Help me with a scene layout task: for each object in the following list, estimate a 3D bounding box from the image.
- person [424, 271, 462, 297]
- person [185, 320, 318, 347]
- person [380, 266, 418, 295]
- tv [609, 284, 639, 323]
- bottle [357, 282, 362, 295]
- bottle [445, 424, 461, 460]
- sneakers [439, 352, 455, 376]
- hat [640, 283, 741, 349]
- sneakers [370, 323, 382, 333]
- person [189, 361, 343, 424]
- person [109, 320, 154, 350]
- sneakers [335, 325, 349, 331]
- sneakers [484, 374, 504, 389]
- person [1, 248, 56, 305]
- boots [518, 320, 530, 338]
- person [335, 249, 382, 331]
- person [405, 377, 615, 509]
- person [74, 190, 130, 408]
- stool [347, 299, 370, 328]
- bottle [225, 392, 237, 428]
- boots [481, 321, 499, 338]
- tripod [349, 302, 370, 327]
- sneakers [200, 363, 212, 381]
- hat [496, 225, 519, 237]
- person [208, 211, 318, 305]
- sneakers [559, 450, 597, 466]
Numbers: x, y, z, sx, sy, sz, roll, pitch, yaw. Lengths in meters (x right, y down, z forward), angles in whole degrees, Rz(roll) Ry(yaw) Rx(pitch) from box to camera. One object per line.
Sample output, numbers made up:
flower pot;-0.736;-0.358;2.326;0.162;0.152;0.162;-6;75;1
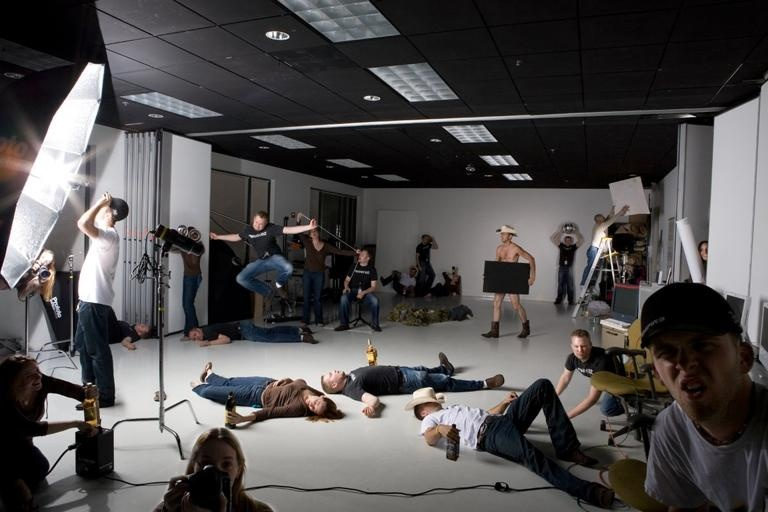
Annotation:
person;1.831;0.830;14.777;0.791;0.746;0.243;-3;-1;-7
person;-2.066;1.229;7.956;1.654;0.364;0.689;3;-3;1
person;0.473;0.741;14.791;0.875;0.819;0.654;0;-4;16
tv;3.544;0.686;7.435;0.265;0.524;0.619;1;-4;4
bottle;-0.466;0.640;9.460;0.098;0.199;0.182;1;-4;-3
bottle;0.606;1.652;4.511;0.114;0.295;0.214;0;-4;7
sneakers;0.831;1.422;6.622;0.119;0.364;0.162;-29;-5;-21
hat;1.349;0.260;2.210;0.420;0.285;0.124;1;-4;0
sneakers;-0.142;1.286;9.136;0.195;0.133;0.322;1;-4;-2
person;-1.251;1.475;5.316;1.064;0.278;0.655;5;3;18
person;-3.836;1.203;7.595;0.729;0.208;0.705;12;2;-33
sneakers;-0.767;1.284;9.099;0.280;0.090;0.095;3;-5;-28
sneakers;1.334;1.505;6.053;0.234;0.128;0.092;-9;-11;-2
person;-4.525;0.244;6.524;0.373;0.660;0.826;4;-5;-31
boots;2.487;1.288;8.976;0.189;0.304;0.486;-1;-4;17
person;-0.486;0.609;9.555;0.821;1.506;0.952;1;-4;-3
person;1.031;1.575;4.513;1.326;0.469;0.812;3;5;29
person;-2.880;0.477;5.062;0.400;2.157;0.606;3;-5;-27
stool;-0.511;1.147;10.125;0.508;0.496;0.460;1;1;-31
bottle;-1.504;1.500;4.921;0.102;0.343;0.197;2;-5;-17
boots;1.876;1.279;8.871;0.299;0.294;0.353;0;-4;8
tripod;-0.507;1.184;10.077;0.467;0.454;0.414;1;5;4
sneakers;-2.124;1.381;5.988;0.099;0.233;0.086;-24;-57;32
hat;2.816;-0.578;11.455;0.425;0.185;0.481;-3;-11;38
person;-2.377;0.034;9.596;2.066;1.413;0.645;-5;-13;-4
sneakers;1.714;1.775;4.500;0.352;0.153;0.114;-7;-10;34
